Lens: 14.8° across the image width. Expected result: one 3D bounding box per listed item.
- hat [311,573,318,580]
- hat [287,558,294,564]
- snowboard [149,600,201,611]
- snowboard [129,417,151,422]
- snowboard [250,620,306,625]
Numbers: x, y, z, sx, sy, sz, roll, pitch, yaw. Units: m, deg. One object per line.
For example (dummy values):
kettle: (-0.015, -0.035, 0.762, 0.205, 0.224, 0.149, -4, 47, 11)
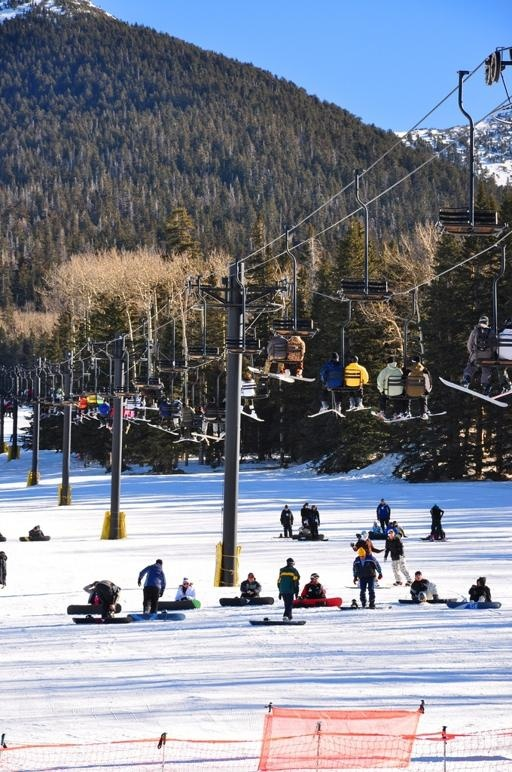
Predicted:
hat: (1.163, 3.893, 39.648, 0.130, 0.132, 0.114, -15, 2, 10)
hat: (0.640, 3.401, 37.530, 0.077, 0.130, 0.118, 3, 19, 15)
snowboard: (-1.551, 4.417, 39.249, 0.828, 0.208, 0.288, 1, -1, -8)
snowboard: (-4.546, 1.361, 76.542, 0.555, 0.182, 0.611, 1, -3, 14)
snowboard: (0.397, 4.557, 37.413, 1.063, 0.095, 0.309, 1, -1, -1)
